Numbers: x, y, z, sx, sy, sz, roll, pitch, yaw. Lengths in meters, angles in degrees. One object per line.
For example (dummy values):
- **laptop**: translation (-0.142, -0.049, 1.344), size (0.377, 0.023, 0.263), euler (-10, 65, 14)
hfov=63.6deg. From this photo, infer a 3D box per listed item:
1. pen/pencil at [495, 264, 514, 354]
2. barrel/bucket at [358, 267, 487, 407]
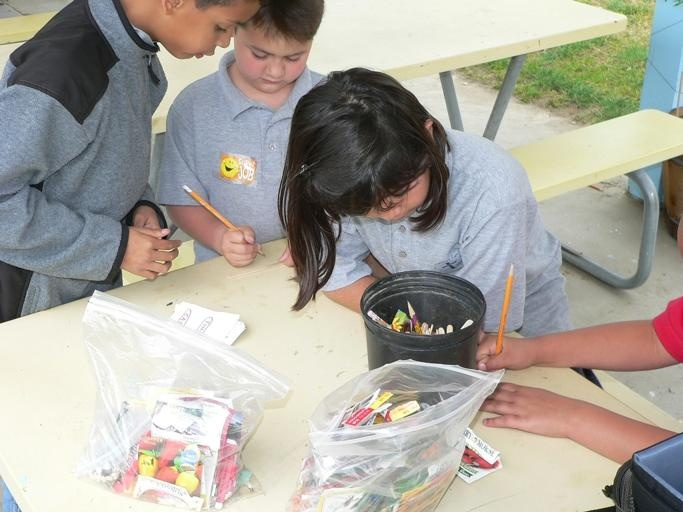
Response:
- **pen/pencil**: translation (0.332, 0.105, 1.122), size (0.013, 0.013, 0.177), euler (13, 90, 9)
- **barrel/bucket**: translation (0.132, 0.140, 1.010), size (0.182, 0.206, 0.191), euler (-3, 42, 3)
